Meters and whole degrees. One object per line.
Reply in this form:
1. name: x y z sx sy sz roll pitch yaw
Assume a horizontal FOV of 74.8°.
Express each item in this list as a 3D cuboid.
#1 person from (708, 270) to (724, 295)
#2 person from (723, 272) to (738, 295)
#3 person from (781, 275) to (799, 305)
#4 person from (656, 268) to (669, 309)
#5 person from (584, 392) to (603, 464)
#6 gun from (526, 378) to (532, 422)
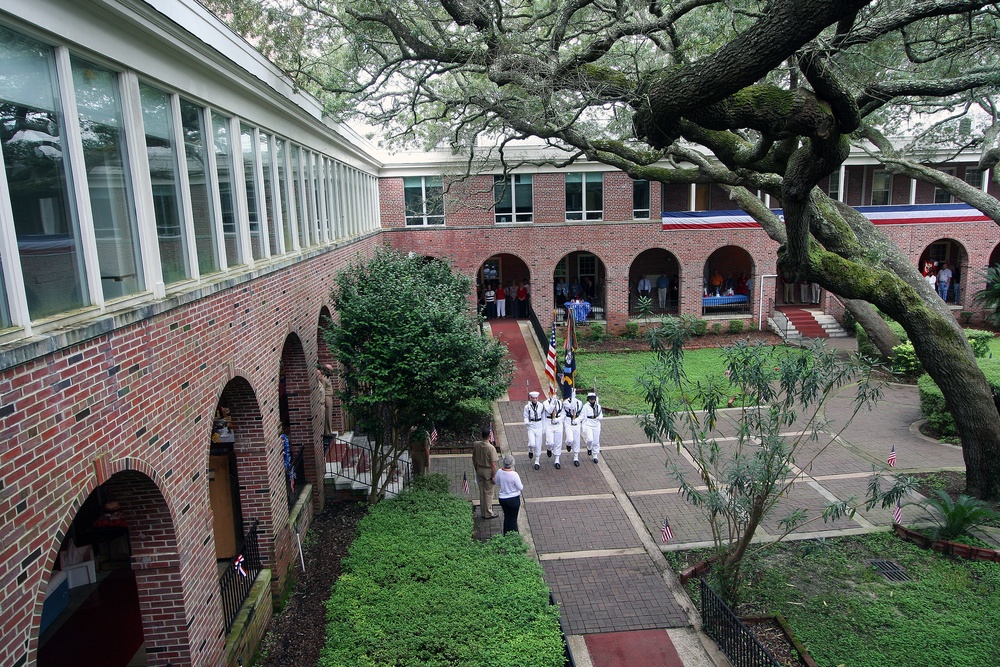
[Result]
1. person: 10.922 -2.603 32.861 0.705 1.034 1.906 5 14 17
2. person: 11.609 -2.524 32.892 0.821 1.117 1.828 2 14 16
3. person: 14.506 -2.102 32.671 0.883 0.860 1.571 7 15 23
4. person: 7.924 -2.073 31.872 0.468 1.625 0.960 5 14 15
5. person: 2.371 2.259 16.754 0.462 1.817 0.951 3 14 8
6. gun: 0.809 1.860 18.432 0.132 0.964 0.073 5 14 15
